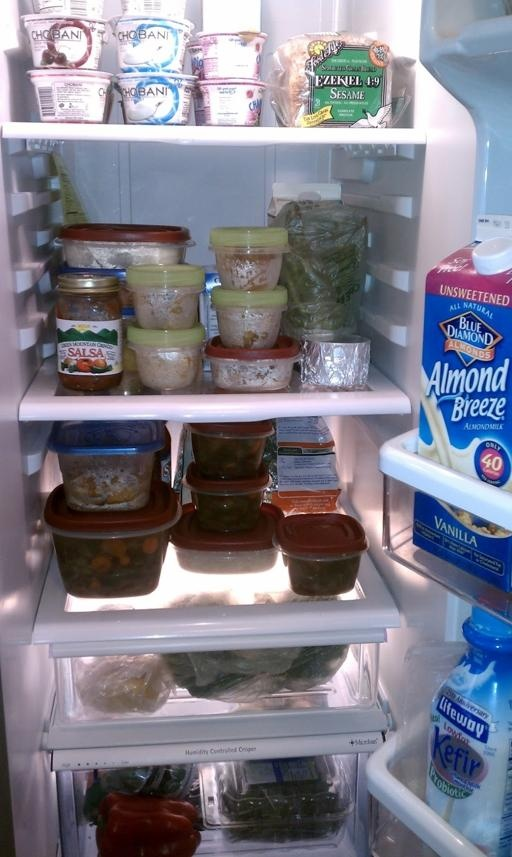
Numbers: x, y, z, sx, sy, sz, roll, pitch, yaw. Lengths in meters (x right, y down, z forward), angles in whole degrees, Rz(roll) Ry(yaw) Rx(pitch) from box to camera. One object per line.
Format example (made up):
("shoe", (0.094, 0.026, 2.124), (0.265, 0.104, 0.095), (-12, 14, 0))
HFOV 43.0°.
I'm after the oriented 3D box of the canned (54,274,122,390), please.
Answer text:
("canned", (-0.270, -0.155, 1.051), (0.104, 0.194, 0.074), (-3, 5, -14))
